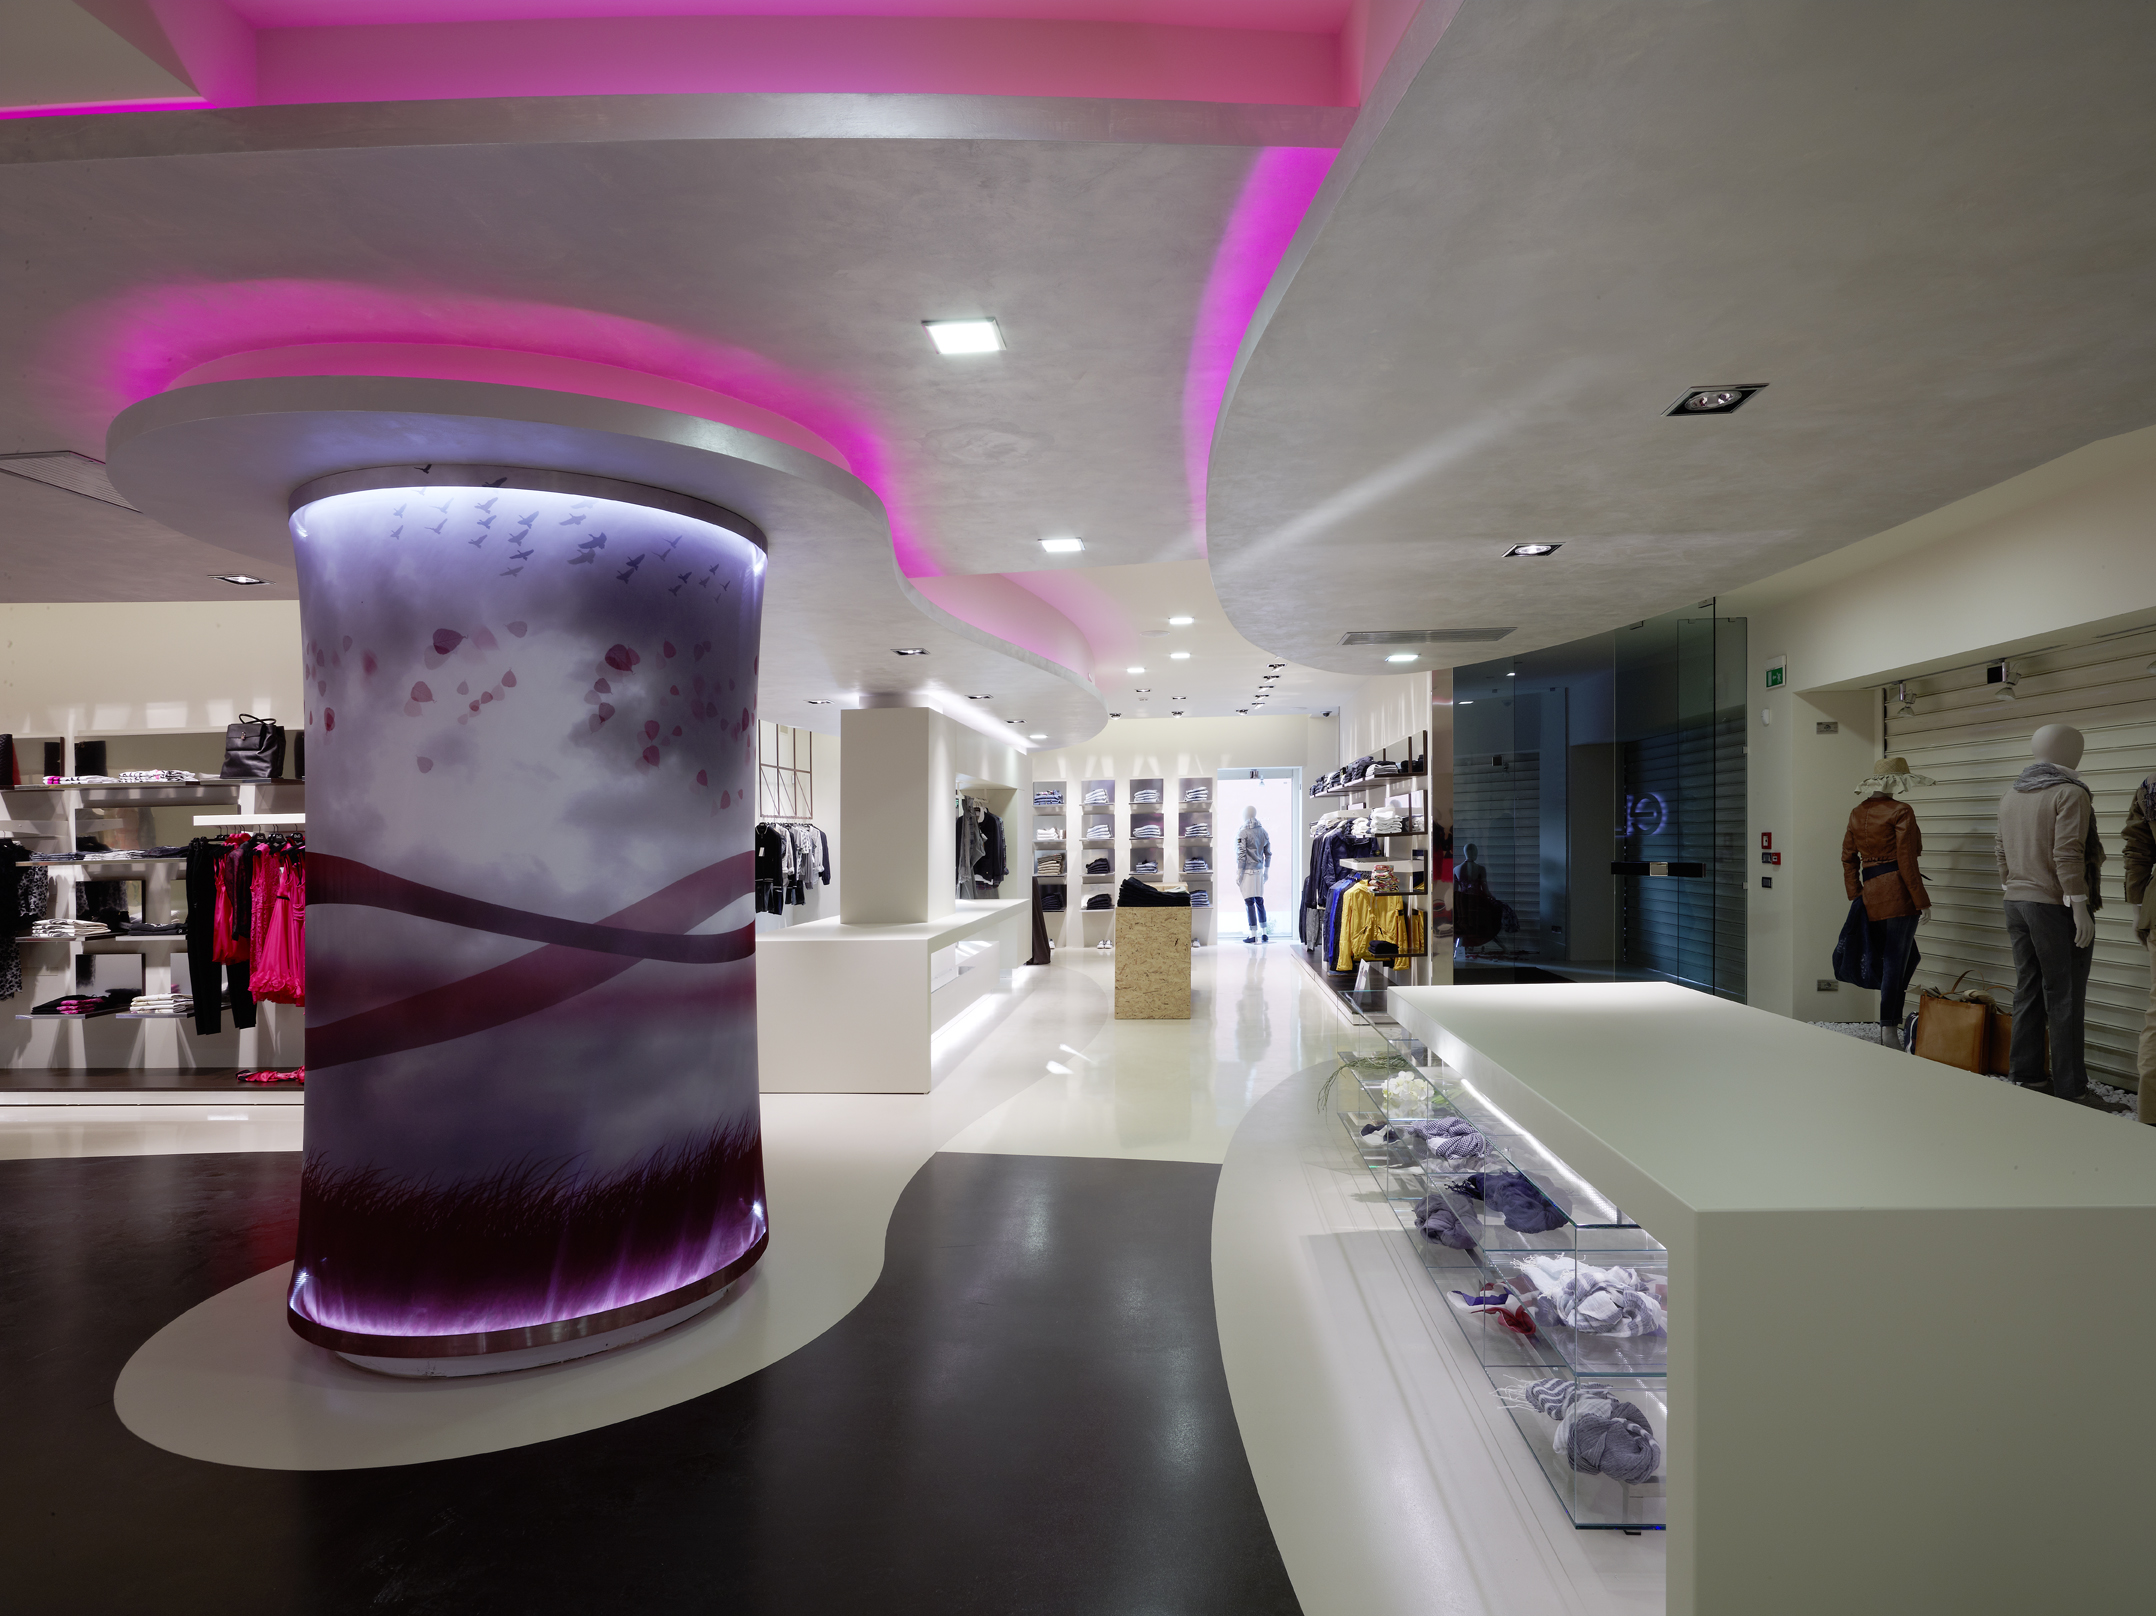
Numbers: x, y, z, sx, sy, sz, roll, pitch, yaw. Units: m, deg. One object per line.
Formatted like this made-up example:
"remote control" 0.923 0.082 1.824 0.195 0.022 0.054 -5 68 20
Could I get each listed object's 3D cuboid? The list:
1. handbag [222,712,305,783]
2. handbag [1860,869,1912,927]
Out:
"handbag" -4.690 -0.333 7.991 0.419 0.395 0.235 1 5 -5
"handbag" 4.205 0.476 7.297 0.217 0.382 0.293 3 -4 -24
